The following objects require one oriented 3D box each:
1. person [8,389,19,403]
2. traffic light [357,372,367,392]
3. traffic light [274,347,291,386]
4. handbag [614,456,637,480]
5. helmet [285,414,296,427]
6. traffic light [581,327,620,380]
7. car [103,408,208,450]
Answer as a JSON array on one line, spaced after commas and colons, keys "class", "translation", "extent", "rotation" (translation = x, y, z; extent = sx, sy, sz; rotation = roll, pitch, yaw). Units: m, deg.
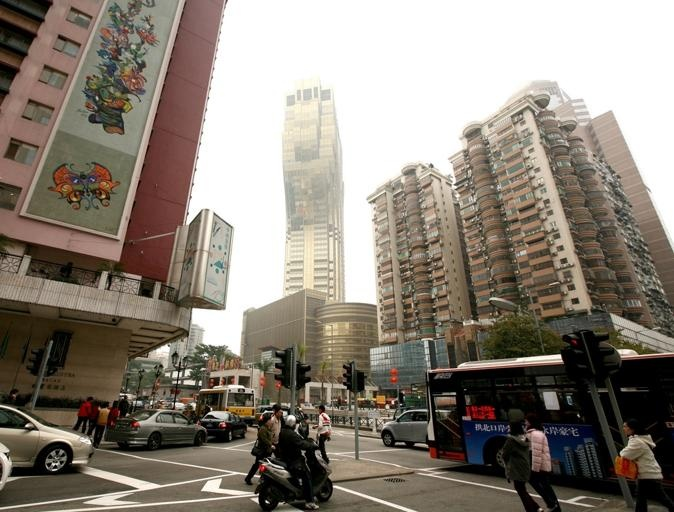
[{"class": "person", "translation": [-17.053, 7.344, 20.300], "extent": [0.309, 0.735, 1.935], "rotation": [17, -26, -35]}, {"class": "traffic light", "translation": [0.975, 5.061, 15.835], "extent": [0.337, 0.808, 0.543], "rotation": [-1, -23, 1]}, {"class": "traffic light", "translation": [-1.895, 3.922, 13.711], "extent": [0.600, 1.389, 1.261], "rotation": [3, -22, -7]}, {"class": "handbag", "translation": [6.528, 4.728, 8.675], "extent": [0.457, 0.447, 0.269], "rotation": [-2, -23, 3]}, {"class": "helmet", "translation": [-1.170, 4.242, 9.964], "extent": [0.257, 0.282, 0.325], "rotation": [-8, -9, 43]}, {"class": "traffic light", "translation": [6.912, 2.511, 10.043], "extent": [0.707, 1.188, 0.643], "rotation": [-13, -26, 28]}, {"class": "car", "translation": [-7.833, 7.679, 17.253], "extent": [0.930, 1.614, 3.688], "rotation": [-17, -26, 35]}]
